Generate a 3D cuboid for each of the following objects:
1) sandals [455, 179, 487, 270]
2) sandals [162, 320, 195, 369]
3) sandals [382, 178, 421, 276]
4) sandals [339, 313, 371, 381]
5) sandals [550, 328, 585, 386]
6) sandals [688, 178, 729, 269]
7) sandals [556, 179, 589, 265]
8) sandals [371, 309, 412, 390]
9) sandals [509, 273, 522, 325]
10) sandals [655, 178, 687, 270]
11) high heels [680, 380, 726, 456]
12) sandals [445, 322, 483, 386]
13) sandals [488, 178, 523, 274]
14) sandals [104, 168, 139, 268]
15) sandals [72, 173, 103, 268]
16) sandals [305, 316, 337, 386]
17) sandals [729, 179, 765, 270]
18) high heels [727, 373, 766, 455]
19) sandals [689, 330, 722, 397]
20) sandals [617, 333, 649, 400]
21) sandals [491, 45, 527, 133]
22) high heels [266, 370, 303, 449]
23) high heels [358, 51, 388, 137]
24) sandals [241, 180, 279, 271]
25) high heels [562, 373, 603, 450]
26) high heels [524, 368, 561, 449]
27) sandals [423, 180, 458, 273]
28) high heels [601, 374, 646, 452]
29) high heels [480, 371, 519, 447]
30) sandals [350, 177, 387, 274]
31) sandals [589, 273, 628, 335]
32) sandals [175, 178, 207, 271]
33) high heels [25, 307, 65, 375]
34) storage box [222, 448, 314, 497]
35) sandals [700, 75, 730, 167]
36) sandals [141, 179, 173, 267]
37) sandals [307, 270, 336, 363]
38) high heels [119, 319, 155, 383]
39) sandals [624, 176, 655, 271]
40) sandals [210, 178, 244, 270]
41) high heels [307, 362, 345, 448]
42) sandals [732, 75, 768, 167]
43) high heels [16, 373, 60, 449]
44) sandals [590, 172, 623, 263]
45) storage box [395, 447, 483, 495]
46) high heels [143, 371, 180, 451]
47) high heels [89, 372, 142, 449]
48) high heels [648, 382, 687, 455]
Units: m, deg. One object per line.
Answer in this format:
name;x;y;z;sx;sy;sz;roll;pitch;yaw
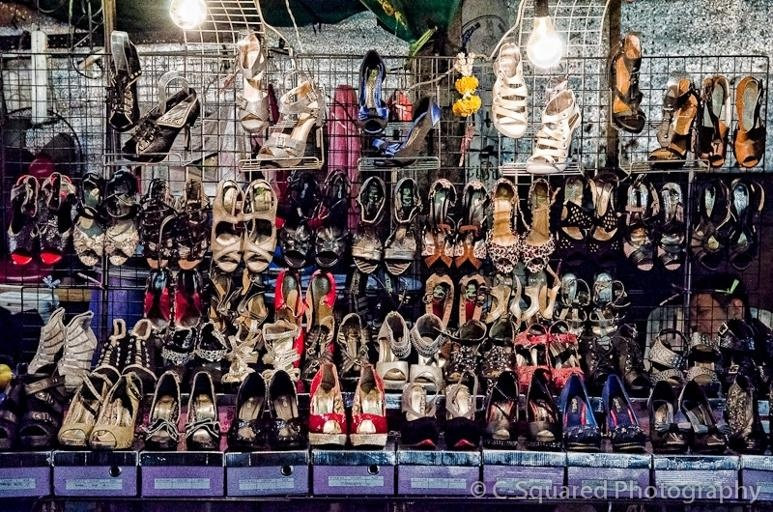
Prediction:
sandals;0.578;-0.204;8.524;0.176;0.584;0.147;3;10;9
sandals;-1.373;0.615;8.429;0.233;0.267;0.186;2;0;15
sandals;0.111;-0.185;8.569;0.211;0.702;0.226;1;-2;3
sandals;-0.224;0.607;8.449;0.159;0.464;0.131;0;-20;-4
sandals;1.175;0.667;8.408;0.135;0.442;0.170;-3;-36;6
sandals;2.186;-0.209;8.565;0.223;0.592;0.139;1;6;22
sandals;1.267;-0.236;8.641;0.172;0.565;0.172;3;16;12
sandals;0.048;0.634;8.344;0.168;0.211;0.567;0;44;0
sandals;0.885;0.303;8.695;0.085;0.331;0.080;2;-11;2
sandals;1.917;-0.197;8.602;0.167;0.489;0.072;1;0;12
high heels;1.972;1.047;7.986;0.178;0.189;0.529;-6;47;5
sandals;0.520;0.651;8.388;0.157;0.183;0.484;1;29;5
sandals;0.779;-0.204;8.515;0.190;0.664;0.158;0;5;9
sandals;-1.765;-0.246;8.558;0.199;0.677;0.243;-1;0;-10
sandals;-1.987;-0.229;8.602;0.189;0.667;0.199;-1;6;-3
sandals;-0.438;0.634;8.479;0.147;0.466;0.145;-2;-29;10
sandals;2.430;-0.226;8.666;0.219;0.672;0.148;0;10;7
high heels;2.256;1.026;8.005;0.165;0.231;0.542;-7;40;19
sandals;2.097;0.734;8.396;0.160;0.522;0.159;-3;-33;16
sandals;1.619;0.728;8.441;0.134;0.437;0.140;-9;-39;16
sandals;0.800;-1.056;8.291;0.194;0.627;0.179;-1;-7;11
high heels;-0.641;0.960;8.037;0.168;0.202;0.517;-1;40;-13
high heels;-0.090;-1.061;8.427;0.158;0.623;0.150;0;-13;-1
sandals;-0.832;-0.190;8.391;0.198;0.651;0.179;-1;-5;-6
high heels;1.209;0.993;8.036;0.179;0.218;0.521;-2;29;9
high heels;0.979;0.971;8.044;0.140;0.203;0.517;-4;36;11
sandals;0.370;-0.188;8.616;0.192;0.616;0.156;3;13;11
high heels;1.484;1.006;8.010;0.167;0.214;0.531;-7;38;10
high heels;0.725;1.002;8.022;0.154;0.561;0.165;-3;-35;14
sandals;-0.125;-0.178;8.487;0.197;0.697;0.205;1;-2;2
sandals;1.522;0.360;8.782;0.189;0.520;0.137;0;-28;12
sandals;-1.312;-0.192;8.557;0.187;0.615;0.218;0;-4;-18
high heels;-2.241;0.600;8.414;0.150;0.522;0.207;10;-15;6
storage box;-0.730;1.362;7.881;0.518;0.277;0.067;2;0;-10
sandals;2.183;-0.887;8.487;0.186;0.681;0.163;2;1;8
sandals;-1.532;-0.207;8.546;0.215;0.601;0.240;2;0;-13
sandals;-0.434;0.415;8.549;0.175;0.596;0.165;-2;-2;2
high heels;-1.617;0.647;8.386;0.151;0.188;0.464;1;43;-11
sandals;1.709;-0.209;8.576;0.181;0.607;0.168;-1;13;5
sandals;-1.033;-0.173;8.365;0.187;0.649;0.172;0;-2;-20
high heels;-0.367;0.944;8.033;0.160;0.243;0.582;2;31;-4
sandals;2.409;-0.881;8.497;0.191;0.648;0.145;0;4;9
high heels;-2.171;1.003;7.992;0.158;0.225;0.509;-1;23;-12
sandals;1.502;-0.258;8.685;0.191;0.615;0.156;1;18;10
storage box;0.326;1.364;7.892;0.518;0.253;0.066;2;0;-6
high heels;-1.388;1.016;7.987;0.163;0.216;0.554;2;45;-10
high heels;-1.676;1.016;7.969;0.175;0.581;0.207;2;-40;-3
high heels;1.758;1.056;7.981;0.148;0.200;0.505;-5;42;15
